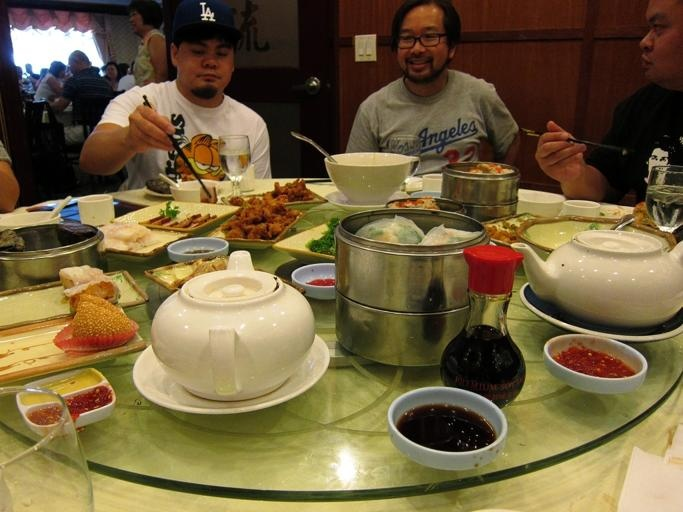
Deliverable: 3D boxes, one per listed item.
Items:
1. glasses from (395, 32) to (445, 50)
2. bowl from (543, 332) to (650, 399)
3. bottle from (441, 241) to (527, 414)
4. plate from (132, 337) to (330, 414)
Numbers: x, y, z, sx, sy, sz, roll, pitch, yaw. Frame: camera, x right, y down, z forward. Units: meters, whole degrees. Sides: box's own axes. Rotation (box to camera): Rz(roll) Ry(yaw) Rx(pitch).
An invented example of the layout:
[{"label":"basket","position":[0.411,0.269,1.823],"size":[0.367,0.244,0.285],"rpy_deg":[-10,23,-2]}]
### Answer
[{"label":"glasses","position":[0.516,-1.391,3.246],"size":[0.293,0.088,0.091],"rpy_deg":[2,22,9]},{"label":"bowl","position":[0.493,0.197,0.998],"size":[0.168,0.036,0.170],"rpy_deg":[-3,20,1]},{"label":"bottle","position":[0.247,0.121,0.952],"size":[0.131,0.302,0.134],"rpy_deg":[6,13,-1]},{"label":"plate","position":[-0.229,0.172,0.982],"size":[0.254,0.124,0.338],"rpy_deg":[11,16,44]}]
